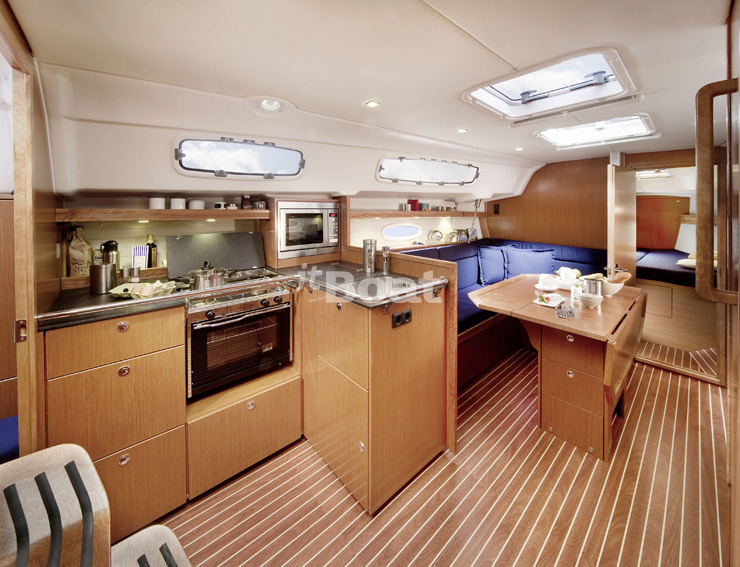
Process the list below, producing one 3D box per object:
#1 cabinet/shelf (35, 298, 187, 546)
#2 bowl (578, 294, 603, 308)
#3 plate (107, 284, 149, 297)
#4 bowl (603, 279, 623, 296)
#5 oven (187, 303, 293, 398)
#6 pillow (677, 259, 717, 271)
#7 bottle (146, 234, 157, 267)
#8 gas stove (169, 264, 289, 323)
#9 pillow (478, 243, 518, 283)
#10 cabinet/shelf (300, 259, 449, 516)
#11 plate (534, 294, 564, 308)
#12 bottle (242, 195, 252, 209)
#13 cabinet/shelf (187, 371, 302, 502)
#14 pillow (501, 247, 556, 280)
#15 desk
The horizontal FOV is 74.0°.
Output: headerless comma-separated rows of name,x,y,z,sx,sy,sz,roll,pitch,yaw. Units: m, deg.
cabinet/shelf,-1.474,0.994,3.401,0.963,1.622,0.971,-9,3,-25
bowl,1.718,0.119,3.833,0.116,0.069,0.123,0,2,0
plate,-1.588,0.042,3.191,0.256,0.068,0.147,1,10,18
bowl,2.063,0.032,4.151,0.132,0.102,0.134,-2,6,0
oven,-1.062,0.376,3.672,0.836,0.664,0.570,-13,23,-41
pillow,2.480,-0.143,3.743,0.173,0.054,0.167,-4,3,9
bottle,-1.643,-0.239,3.668,0.058,0.237,0.098,-3,9,-9
gas stove,-1.032,0.034,3.619,0.845,0.311,0.506,-10,12,-40
pillow,1.485,-0.224,5.741,0.348,0.414,0.119,-1,-5,15
cabinet/shelf,0.009,0.600,3.666,0.715,1.377,0.950,-13,18,-35
plate,1.401,0.131,3.848,0.127,0.046,0.140,2,11,34
bottle,-1.007,-0.657,3.953,0.084,0.111,0.104,-4,9,-15
cabinet/shelf,-0.974,0.985,3.647,0.892,0.567,0.499,-18,28,-38
pillow,1.806,-0.256,5.662,0.384,0.453,0.169,3,-15,19
desk,1.507,0.608,4.108,1.180,1.089,1.225,5,11,38
